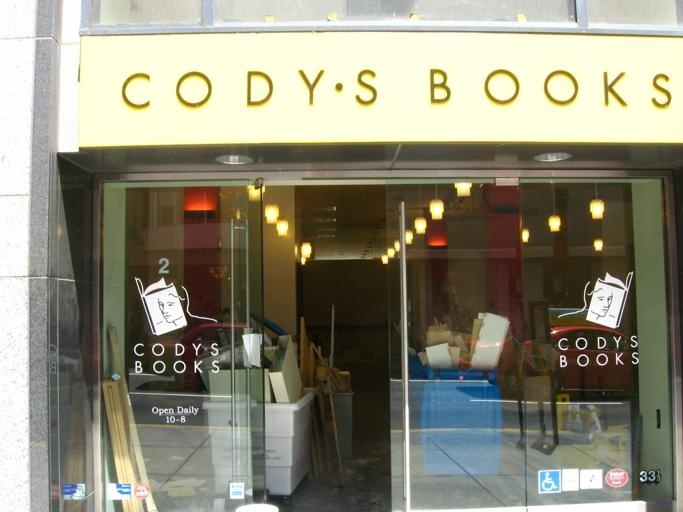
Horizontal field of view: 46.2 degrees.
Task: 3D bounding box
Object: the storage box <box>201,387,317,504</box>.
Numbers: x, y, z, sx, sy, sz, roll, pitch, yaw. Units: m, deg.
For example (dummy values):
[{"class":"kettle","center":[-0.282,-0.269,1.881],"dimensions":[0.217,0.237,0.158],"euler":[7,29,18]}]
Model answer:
[{"class":"storage box","center":[-0.783,1.957,8.803],"dimensions":[0.976,0.882,1.401],"euler":[1,-3,6]}]
